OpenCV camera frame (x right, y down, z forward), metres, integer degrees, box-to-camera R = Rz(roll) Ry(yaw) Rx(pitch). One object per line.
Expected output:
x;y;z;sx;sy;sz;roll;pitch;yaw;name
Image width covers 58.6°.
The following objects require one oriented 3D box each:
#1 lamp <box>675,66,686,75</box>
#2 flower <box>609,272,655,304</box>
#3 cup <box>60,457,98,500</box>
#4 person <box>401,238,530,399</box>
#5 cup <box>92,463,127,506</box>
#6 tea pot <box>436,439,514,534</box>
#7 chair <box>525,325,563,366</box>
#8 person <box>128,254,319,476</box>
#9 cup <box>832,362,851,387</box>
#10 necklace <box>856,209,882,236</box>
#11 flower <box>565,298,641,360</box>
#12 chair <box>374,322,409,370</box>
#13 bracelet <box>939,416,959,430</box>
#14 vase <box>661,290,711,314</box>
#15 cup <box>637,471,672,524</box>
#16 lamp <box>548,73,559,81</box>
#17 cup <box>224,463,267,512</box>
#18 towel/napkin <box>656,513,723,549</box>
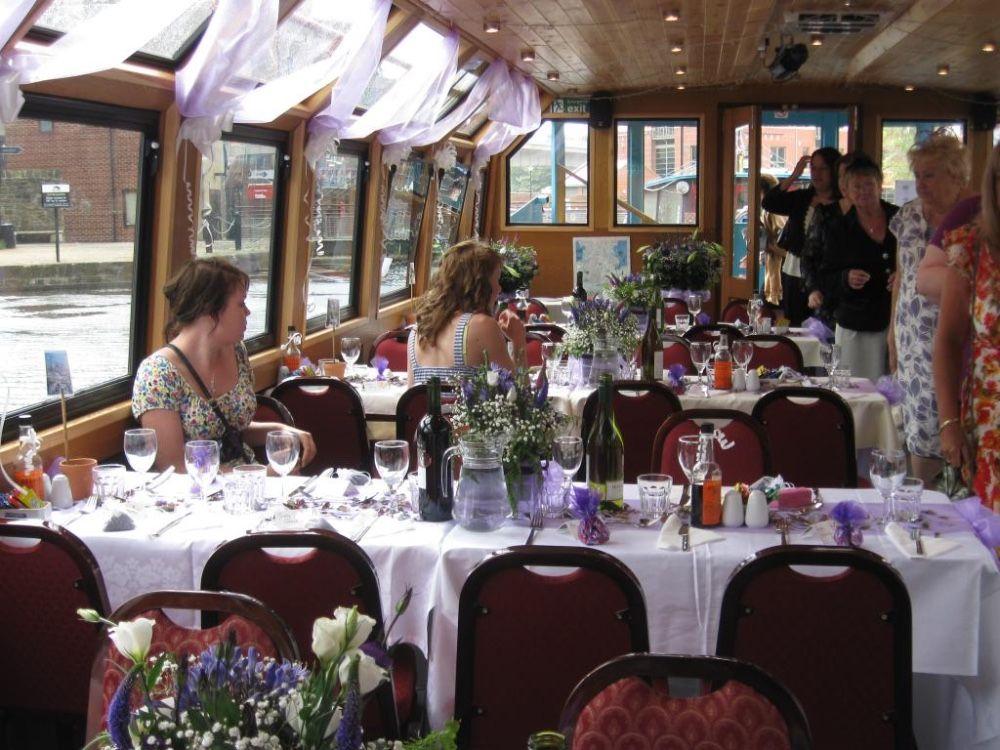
2.062;-3.524;10.288;0.116;0.127;0.131;2;25;7;lamp
0.899;-0.613;6.220;0.323;0.238;0.349;0;3;-18;flower
-1.595;0.398;3.444;0.132;0.176;0.145;0;-3;0;cup
-0.167;-0.105;4.891;0.580;1.250;0.600;1;-3;-23;person
-1.470;0.411;3.372;0.117;0.159;0.129;1;3;10;cup
-0.074;0.356;3.136;0.280;0.353;0.219;0;4;9;tea pot
0.304;-0.242;6.820;0.259;0.405;0.297;0;-3;5;chair
-1.201;0.015;3.971;0.742;1.021;0.742;-6;12;-38;person
1.936;-0.005;5.117;0.085;0.104;0.117;-2;1;-8;cup
2.499;-1.032;6.002;0.153;0.223;0.225;1;3;14;necklace
0.613;-0.316;5.338;0.324;0.405;0.351;2;6;14;flower
-0.789;-0.227;7.107;0.277;0.439;0.357;0;1;6;chair
1.721;0.187;3.449;0.045;0.012;0.046;-36;-10;-22;bracelet
1.756;-0.743;8.588;0.366;0.331;0.436;1;0;-26;vase
0.524;0.433;3.140;0.127;0.175;0.139;0;0;0;cup
0.595;-3.501;10.411;0.109;0.118;0.118;12;27;26;lamp
-0.928;0.409;3.231;0.168;0.169;0.114;0;2;-26;cup
0.583;0.520;2.886;0.098;0.057;0.169;3;3;-17;towel/napkin
